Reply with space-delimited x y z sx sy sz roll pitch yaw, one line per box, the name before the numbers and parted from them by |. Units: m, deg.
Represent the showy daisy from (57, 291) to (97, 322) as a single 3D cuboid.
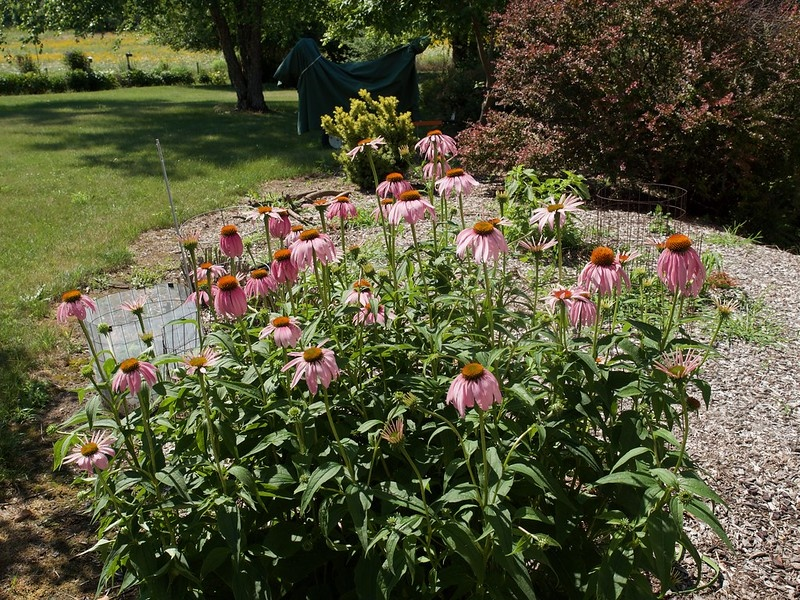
showy daisy | -1.828 0.046 4.184 0.158 0.116 0.175 16 32 22
